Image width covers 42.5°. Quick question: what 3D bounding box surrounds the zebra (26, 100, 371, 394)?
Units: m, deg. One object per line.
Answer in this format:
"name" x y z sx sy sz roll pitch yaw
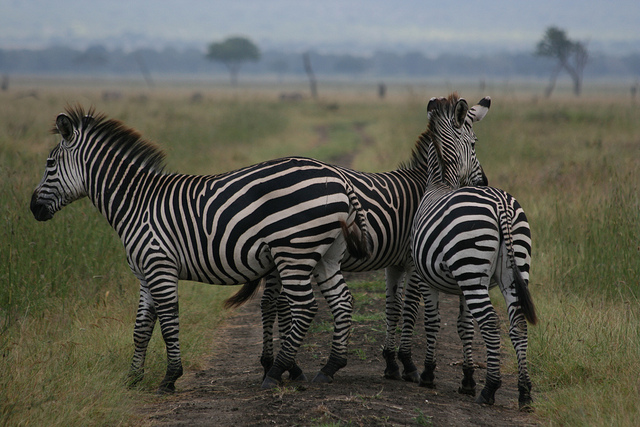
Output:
"zebra" -1.481 0.603 10.384 4.247 3.317 1.274 1 2 6

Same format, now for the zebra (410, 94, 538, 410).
"zebra" 1.957 0.328 10.898 1.305 4.237 4.604 2 -2 -4
